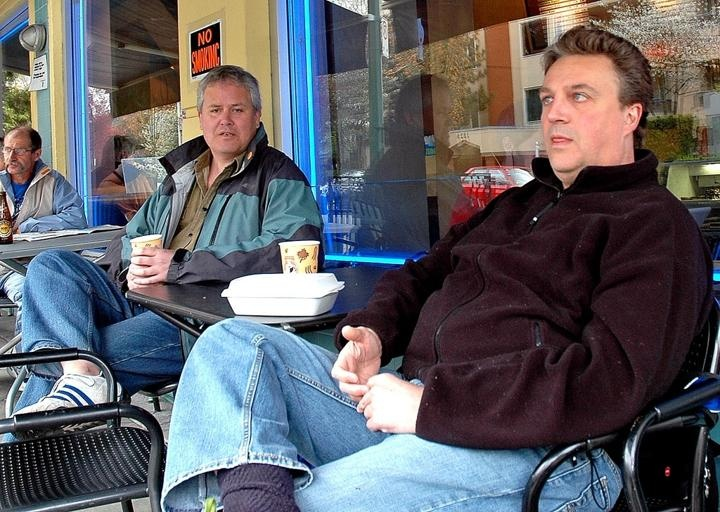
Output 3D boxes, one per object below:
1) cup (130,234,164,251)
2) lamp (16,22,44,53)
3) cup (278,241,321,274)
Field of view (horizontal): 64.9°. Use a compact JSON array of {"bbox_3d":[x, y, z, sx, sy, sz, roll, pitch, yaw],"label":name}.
[{"bbox_3d":[-0.922,-0.066,2.372,0.087,0.064,0.085,-3,7,0],"label":"cup"},{"bbox_3d":[-4.082,-2.698,6.957,0.231,0.324,0.439,-5,6,-41],"label":"lamp"},{"bbox_3d":[-0.214,0.001,1.950,0.120,0.076,0.115,-2,4,0],"label":"cup"}]
